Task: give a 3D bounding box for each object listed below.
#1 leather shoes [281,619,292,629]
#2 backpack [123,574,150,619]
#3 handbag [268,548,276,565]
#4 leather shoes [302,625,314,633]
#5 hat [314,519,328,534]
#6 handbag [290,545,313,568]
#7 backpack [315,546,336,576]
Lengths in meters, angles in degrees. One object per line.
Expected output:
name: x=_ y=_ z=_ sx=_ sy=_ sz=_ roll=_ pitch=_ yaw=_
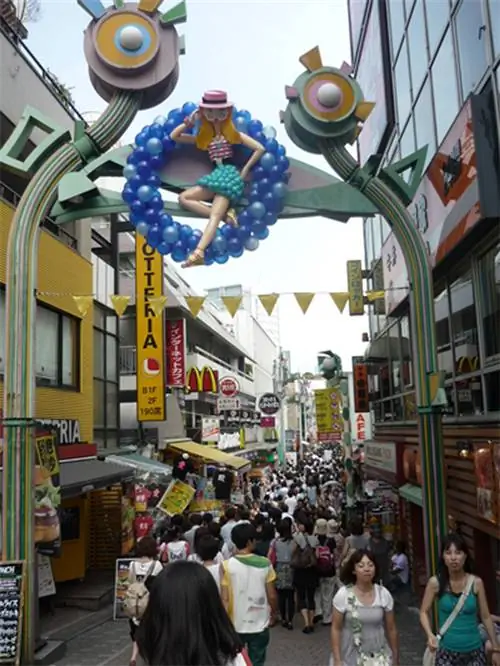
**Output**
leather shoes: x=0.556 y=4.369 z=8.220 sx=0.157 sy=0.106 sz=0.217 roll=-3 pitch=-12 yaw=2
backpack: x=-1.074 y=2.590 z=5.260 sx=0.383 sy=0.366 sz=0.185 roll=-13 pitch=-16 yaw=41
handbag: x=0.318 y=3.362 z=8.239 sx=0.116 sy=0.237 sz=0.301 roll=-1 pitch=-12 yaw=-10
leather shoes: x=0.838 y=4.281 z=7.921 sx=0.135 sy=0.099 sz=0.244 roll=-2 pitch=-25 yaw=3
hat: x=1.155 y=3.120 z=8.968 sx=0.247 sy=0.155 sz=0.276 roll=-1 pitch=26 yaw=-6
handbag: x=0.767 y=3.259 z=7.945 sx=0.350 sy=0.342 sz=0.209 roll=-2 pitch=-12 yaw=-3
backpack: x=1.130 y=3.463 z=8.279 sx=0.269 sy=0.486 sz=0.410 roll=-4 pitch=-12 yaw=6
